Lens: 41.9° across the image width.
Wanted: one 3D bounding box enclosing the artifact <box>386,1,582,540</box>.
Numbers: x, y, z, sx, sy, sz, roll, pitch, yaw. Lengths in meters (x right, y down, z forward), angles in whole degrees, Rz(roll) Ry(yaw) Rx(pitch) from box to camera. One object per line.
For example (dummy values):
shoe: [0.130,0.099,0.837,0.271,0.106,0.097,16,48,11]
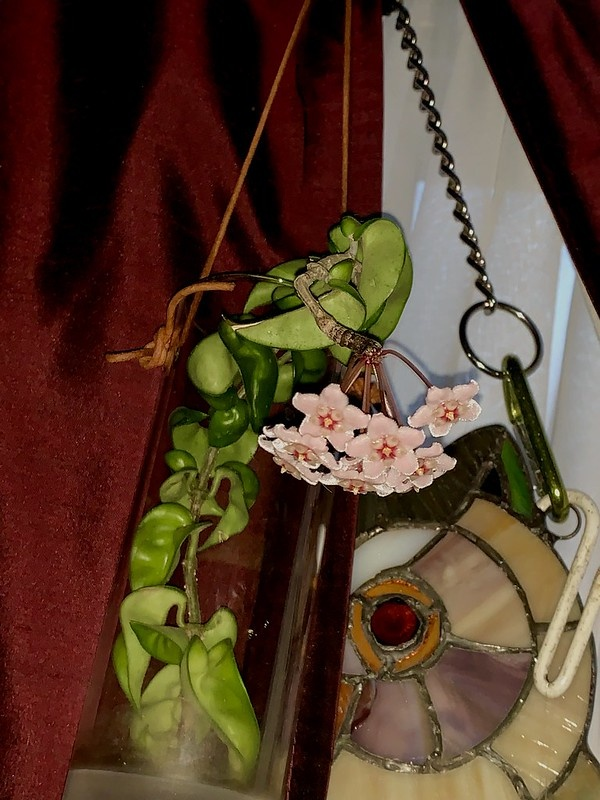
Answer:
artifact: [0.169,-0.116,0.697,0.061,0.548,0.061,-17,2,-34]
